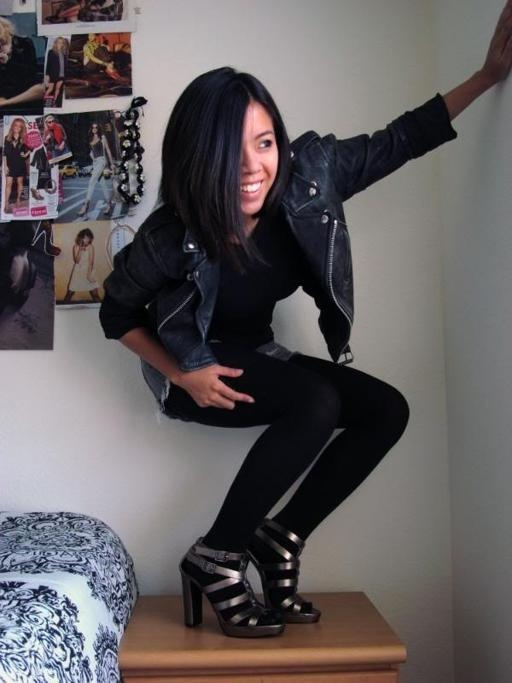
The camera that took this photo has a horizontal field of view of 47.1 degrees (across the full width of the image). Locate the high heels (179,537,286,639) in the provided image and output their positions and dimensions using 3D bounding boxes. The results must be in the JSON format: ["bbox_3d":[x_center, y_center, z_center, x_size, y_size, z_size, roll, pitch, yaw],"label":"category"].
[{"bbox_3d":[-0.002,0.513,1.259,0.273,0.222,0.134,1,-7,6],"label":"high heels"}]

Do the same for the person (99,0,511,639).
[{"bbox_3d":[0.051,-0.036,1.234,0.730,1.299,0.618,10,-13,-16],"label":"person"}]
